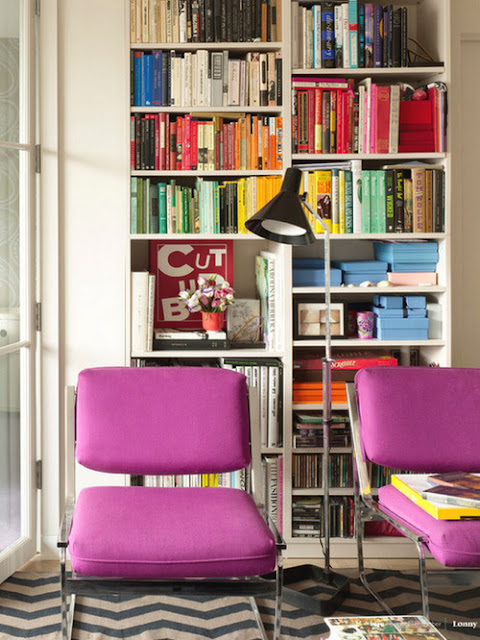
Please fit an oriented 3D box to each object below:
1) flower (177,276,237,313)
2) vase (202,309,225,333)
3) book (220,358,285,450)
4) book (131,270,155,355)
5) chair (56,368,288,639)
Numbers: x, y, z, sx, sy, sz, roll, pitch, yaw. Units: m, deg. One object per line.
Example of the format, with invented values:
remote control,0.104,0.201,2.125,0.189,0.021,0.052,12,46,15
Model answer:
flower,-0.141,-0.085,3.144,0.206,0.155,0.268,-3,8,-6
vase,-0.106,0.013,3.116,0.072,0.073,0.079,-1,0,-36
book,0.065,0.350,3.185,0.286,0.438,0.315,0,-2,-4
book,-0.379,-0.016,3.016,0.124,0.381,0.266,1,6,-9
chair,-0.236,0.542,2.523,0.623,0.859,0.852,0,-12,-7
